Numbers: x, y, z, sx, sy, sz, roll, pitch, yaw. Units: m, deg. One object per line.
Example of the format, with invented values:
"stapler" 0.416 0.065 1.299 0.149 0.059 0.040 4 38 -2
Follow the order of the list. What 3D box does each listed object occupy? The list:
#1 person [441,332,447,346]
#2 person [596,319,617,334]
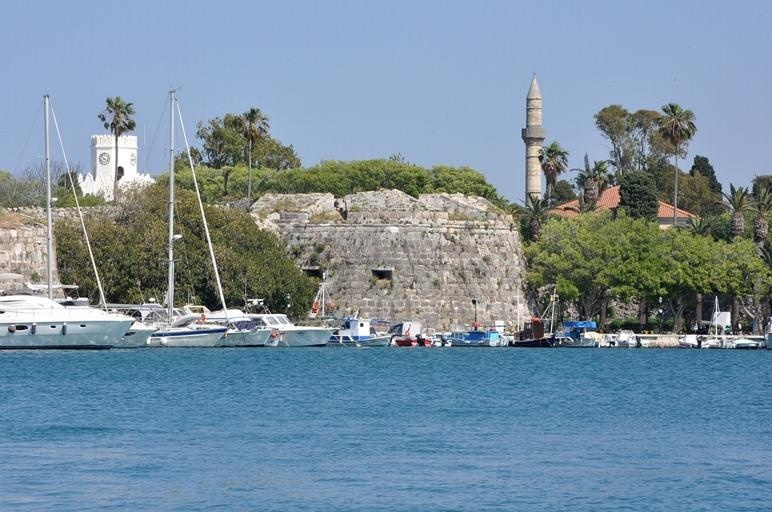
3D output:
"person" 4.222 6.082 136.286 0.516 0.755 0.370 1 0 11
"person" 17.234 5.392 145.245 1.240 1.758 0.980 -2 -1 17
